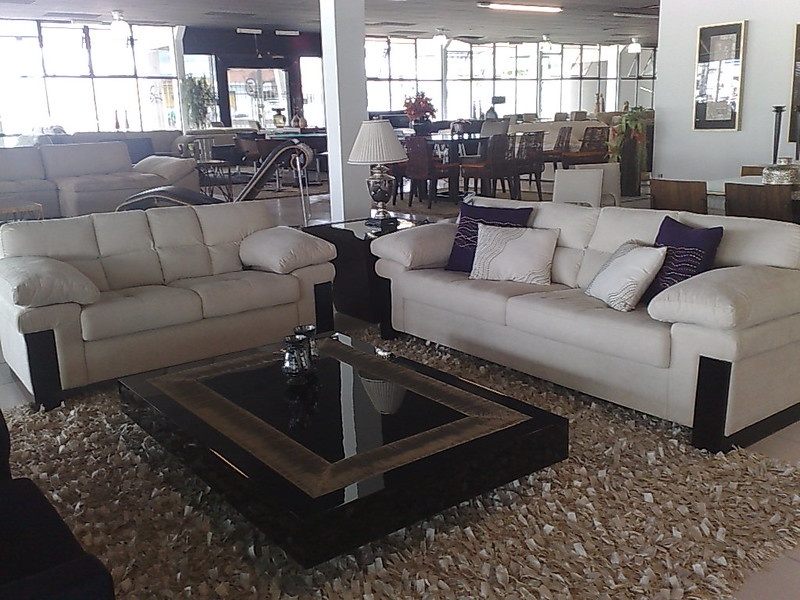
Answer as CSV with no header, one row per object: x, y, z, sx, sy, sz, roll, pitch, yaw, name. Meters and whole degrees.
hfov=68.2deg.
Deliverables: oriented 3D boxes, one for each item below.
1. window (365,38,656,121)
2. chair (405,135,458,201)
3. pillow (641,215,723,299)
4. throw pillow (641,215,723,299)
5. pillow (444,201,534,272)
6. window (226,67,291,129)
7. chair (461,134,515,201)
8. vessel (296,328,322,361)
3.101,-6.966,18.584,9.234,2.405,2.520,-8,22,-25,window
0.492,-1.868,8.736,0.735,0.874,0.630,-12,18,-41,chair
1.501,-0.248,3.211,0.151,0.405,0.473,22,3,-32,pillow
1.535,-0.204,3.244,0.151,0.405,0.473,22,3,-32,throw pillow
0.630,-0.408,4.238,0.589,0.459,0.166,1,-18,39,pillow
-3.926,-5.636,16.850,0.232,1.610,1.987,22,28,39,window
1.343,-1.977,8.850,0.784,0.995,1.082,8,23,23,chair
-0.496,0.211,3.039,0.173,0.166,0.154,-2,11,-12,vessel
